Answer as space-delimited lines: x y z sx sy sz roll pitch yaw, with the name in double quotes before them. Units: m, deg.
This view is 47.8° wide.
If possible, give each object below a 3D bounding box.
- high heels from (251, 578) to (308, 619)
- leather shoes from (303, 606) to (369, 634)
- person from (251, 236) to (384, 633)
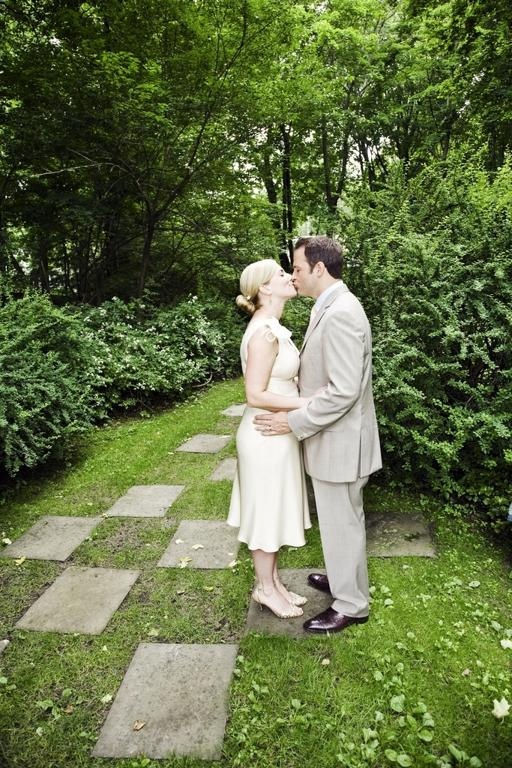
"high heels" 0.124 1.204 3.272 0.240 0.090 0.158 10 7 11
"leather shoes" 0.418 1.258 3.163 0.365 0.142 0.131 1 0 -11
"person" 0.378 0.281 3.059 0.557 2.078 0.552 10 17 36
